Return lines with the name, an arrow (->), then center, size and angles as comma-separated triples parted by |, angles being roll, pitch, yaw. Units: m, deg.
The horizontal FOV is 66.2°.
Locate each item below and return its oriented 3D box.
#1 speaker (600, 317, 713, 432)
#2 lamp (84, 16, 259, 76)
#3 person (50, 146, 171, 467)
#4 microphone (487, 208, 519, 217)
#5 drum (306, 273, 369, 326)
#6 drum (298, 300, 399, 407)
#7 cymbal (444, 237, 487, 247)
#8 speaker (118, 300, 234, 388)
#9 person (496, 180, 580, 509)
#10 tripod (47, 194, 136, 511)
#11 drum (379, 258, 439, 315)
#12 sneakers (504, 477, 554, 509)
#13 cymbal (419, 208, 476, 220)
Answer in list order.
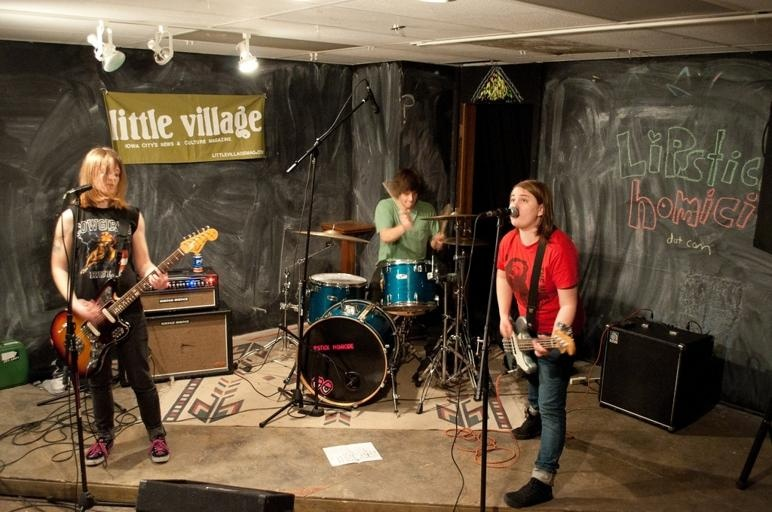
speaker -> 2.612, 1.103, 5.742 | 0.702, 0.838, 0.858 | -6, 11, -40
lamp -> -2.027, -1.862, 5.237 | 0.954, 0.340, 0.276 | -1, 16, -3
person -> -2.140, 0.519, 4.814 | 1.030, 2.666, 0.933 | 0, 12, -9
microphone -> 0.824, -0.303, 4.166 | 0.340, 0.065, 0.127 | -9, 11, -43
drum -> -0.507, 0.414, 5.940 | 0.525, 0.375, 0.519 | 1, 2, 0
drum -> -0.304, 0.921, 5.749 | 0.925, 0.928, 0.663 | -5, 0, 19
cymbal -> 0.794, -0.151, 5.732 | 0.386, 0.089, 0.279 | -3, 8, -9
speaker -> -2.206, 0.873, 6.264 | 1.063, 0.760, 0.590 | -1, 16, -22
person -> 1.195, 0.643, 4.718 | 0.623, 2.470, 0.874 | 0, 9, 10
tripod -> -2.345, 0.697, 4.638 | 0.343, 2.482, 0.846 | -6, 10, -27
drum -> 0.298, 0.266, 6.031 | 0.661, 0.478, 0.654 | -4, -1, 0
sneakers -> 1.013, 1.814, 4.537 | 0.484, 0.204, 0.162 | -1, 0, -14
cymbal -> 0.612, -0.444, 6.197 | 0.336, 0.077, 0.333 | 0, -6, -7
